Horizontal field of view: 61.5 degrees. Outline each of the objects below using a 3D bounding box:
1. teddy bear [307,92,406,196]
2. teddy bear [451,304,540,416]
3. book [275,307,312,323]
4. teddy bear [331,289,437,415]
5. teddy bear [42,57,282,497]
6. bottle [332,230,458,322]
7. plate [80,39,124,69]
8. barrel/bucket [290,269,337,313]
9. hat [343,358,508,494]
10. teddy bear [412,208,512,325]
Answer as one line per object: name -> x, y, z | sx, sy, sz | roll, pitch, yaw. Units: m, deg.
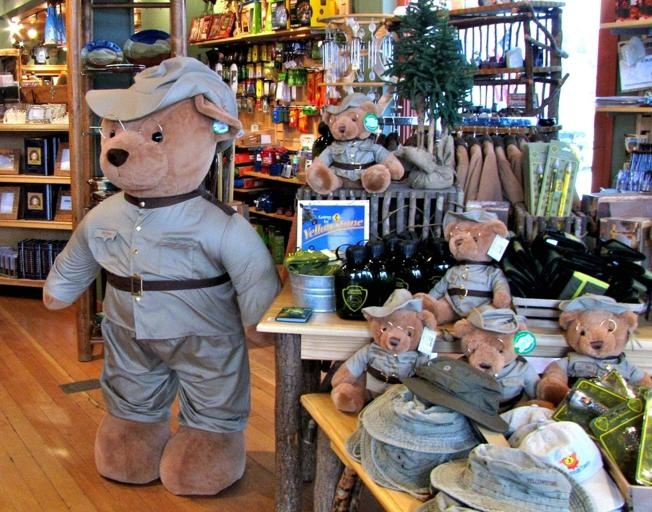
teddy bear -> 0.152, -0.514, 2.437 | 0.396, 0.428, 0.657 | 4, 14, 6
teddy bear -> 0.538, 0.346, 1.808 | 0.384, 0.404, 0.201 | 3, 28, 20
book -> -0.109, 0.209, 1.918 | 0.116, 0.021, 0.114 | 4, 13, 8
teddy bear -> 0.196, 0.329, 1.792 | 0.325, 0.384, 0.326 | 5, 9, -14
teddy bear -> -0.699, 0.115, 2.439 | 0.982, 1.924, 0.473 | 1, 14, -4
bottle -> 0.249, 0.083, 1.929 | 0.320, 0.184, 0.107 | -13, 16, -35
plate -> -1.443, -1.310, 3.550 | 0.216, 0.072, 0.202 | -6, 43, -13
barrel/bucket -> -0.057, 0.125, 1.955 | 0.169, 0.093, 0.142 | -1, 7, -12
hat -> 0.277, 0.467, 1.536 | 0.320, 0.168, 0.389 | 24, 44, 36
teddy bear -> 0.461, -0.008, 2.050 | 0.433, 0.443, 0.389 | 7, 13, 44
